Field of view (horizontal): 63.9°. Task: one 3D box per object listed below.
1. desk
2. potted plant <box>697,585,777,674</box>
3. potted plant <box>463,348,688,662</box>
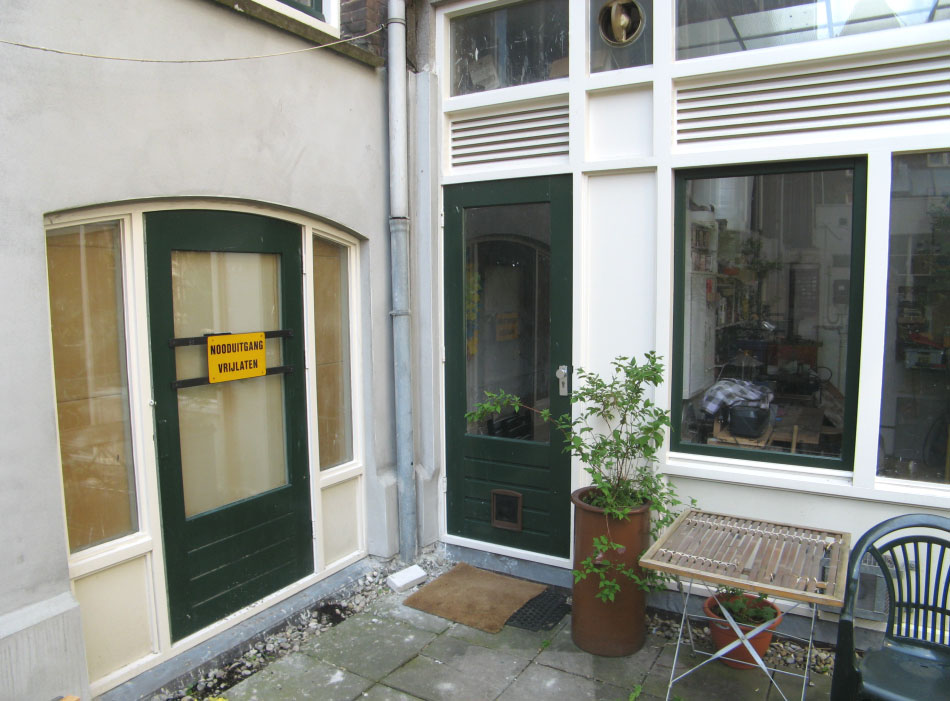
[{"bbox_3d":[1.601,1.522,4.460,1.019,0.957,1.048,2,8,27],"label":"desk"},{"bbox_3d":[1.611,1.623,4.603,0.431,0.363,0.453,-2,5,-13],"label":"potted plant"},{"bbox_3d":[0.902,0.916,5.102,0.826,1.839,1.115,-1,7,-1],"label":"potted plant"}]
